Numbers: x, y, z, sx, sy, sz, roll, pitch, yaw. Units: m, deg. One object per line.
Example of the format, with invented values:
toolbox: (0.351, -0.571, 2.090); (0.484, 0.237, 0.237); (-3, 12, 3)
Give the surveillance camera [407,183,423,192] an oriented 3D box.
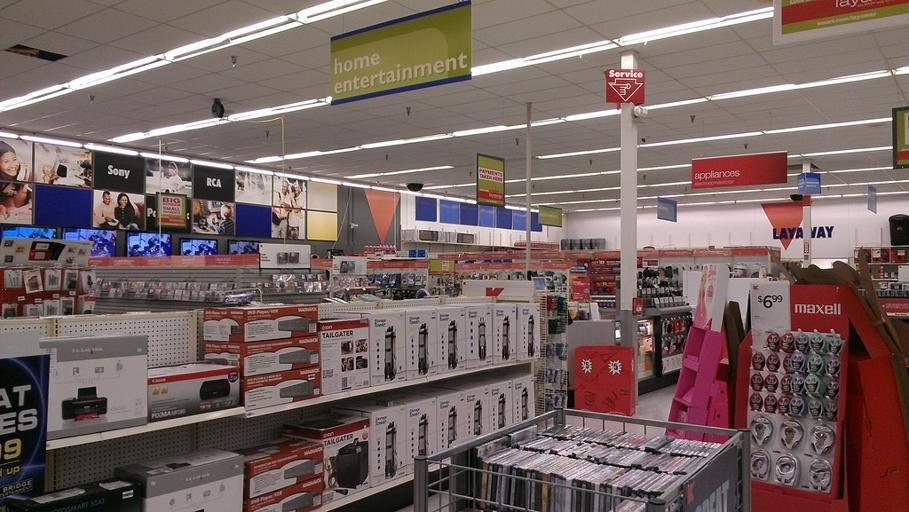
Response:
surveillance camera: (-1.467, -2.580, 22.392); (0.632, 0.198, 0.951); (0, -1, -2)
